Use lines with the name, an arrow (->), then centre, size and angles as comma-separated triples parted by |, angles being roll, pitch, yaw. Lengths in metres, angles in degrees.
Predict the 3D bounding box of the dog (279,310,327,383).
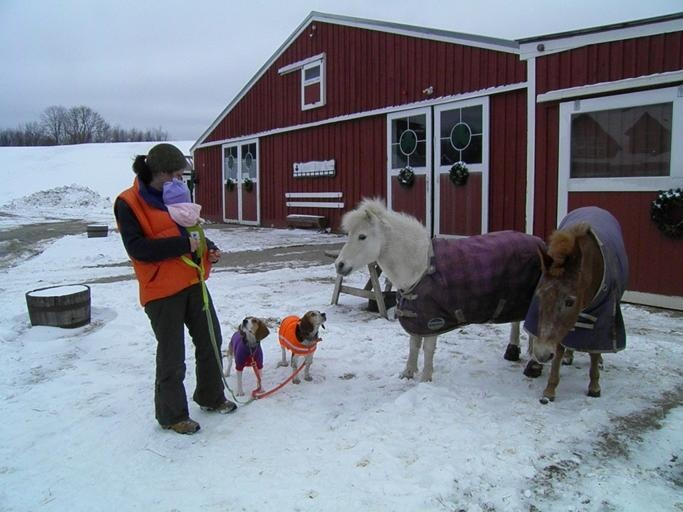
dog -> -0.409, 0.880, 5.280 | 0.312, 0.746, 0.554 | -8, 12, -29

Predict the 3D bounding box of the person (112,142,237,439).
person -> -1.423, 0.273, 4.423 | 0.811, 2.430, 0.501 | -7, 11, -26

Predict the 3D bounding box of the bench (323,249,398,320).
bench -> 0.491, 0.148, 7.558 | 0.953, 0.961, 1.241 | 7, 21, 30

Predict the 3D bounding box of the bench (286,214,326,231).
bench -> -0.967, -0.955, 14.716 | 0.530, 0.472, 1.726 | -9, 13, -32

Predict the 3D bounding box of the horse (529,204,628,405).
horse -> 2.160, 0.285, 4.695 | 0.669, 1.639, 2.112 | -4, 19, 28

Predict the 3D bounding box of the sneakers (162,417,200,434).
sneakers -> -1.391, 1.447, 4.511 | 0.320, 0.182, 0.140 | -1, 6, 4
